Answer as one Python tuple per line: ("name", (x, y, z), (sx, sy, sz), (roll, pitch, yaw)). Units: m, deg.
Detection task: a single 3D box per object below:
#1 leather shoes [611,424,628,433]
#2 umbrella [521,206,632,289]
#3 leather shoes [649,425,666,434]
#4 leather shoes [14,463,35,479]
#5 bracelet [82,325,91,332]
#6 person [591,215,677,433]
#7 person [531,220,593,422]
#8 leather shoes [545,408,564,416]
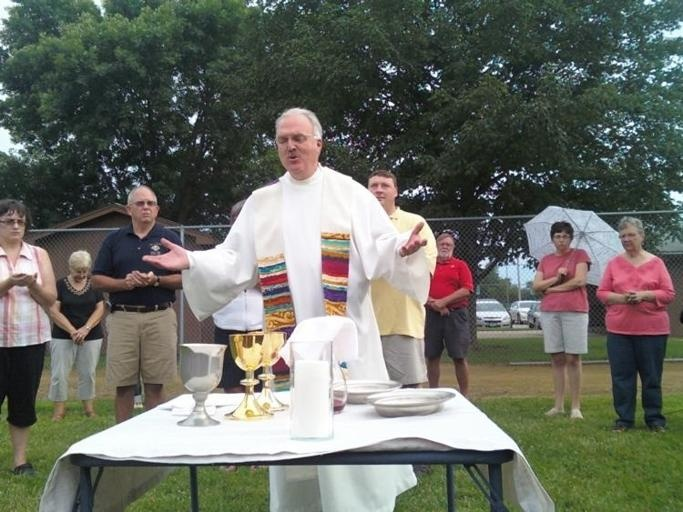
("leather shoes", (3.185, 1.961, 8.721), (0.190, 0.083, 0.233), (-4, -6, 20))
("umbrella", (3.412, -0.298, 10.929), (1.263, 1.172, 1.088), (15, 16, 38))
("leather shoes", (3.585, 1.969, 8.677), (0.145, 0.060, 0.076), (8, -12, -27))
("leather shoes", (-3.216, 2.157, 7.707), (0.201, 0.117, 0.129), (0, -6, -21))
("bracelet", (-3.332, 0.946, 9.959), (0.069, 0.036, 0.091), (-4, -23, -13))
("person", (3.442, 0.767, 8.902), (0.791, 2.469, 0.564), (-6, -7, 38))
("person", (2.762, 0.777, 9.533), (0.673, 2.433, 0.467), (-7, -7, 39))
("leather shoes", (2.657, 1.957, 9.564), (0.253, 0.105, 0.097), (-1, -7, 1))
